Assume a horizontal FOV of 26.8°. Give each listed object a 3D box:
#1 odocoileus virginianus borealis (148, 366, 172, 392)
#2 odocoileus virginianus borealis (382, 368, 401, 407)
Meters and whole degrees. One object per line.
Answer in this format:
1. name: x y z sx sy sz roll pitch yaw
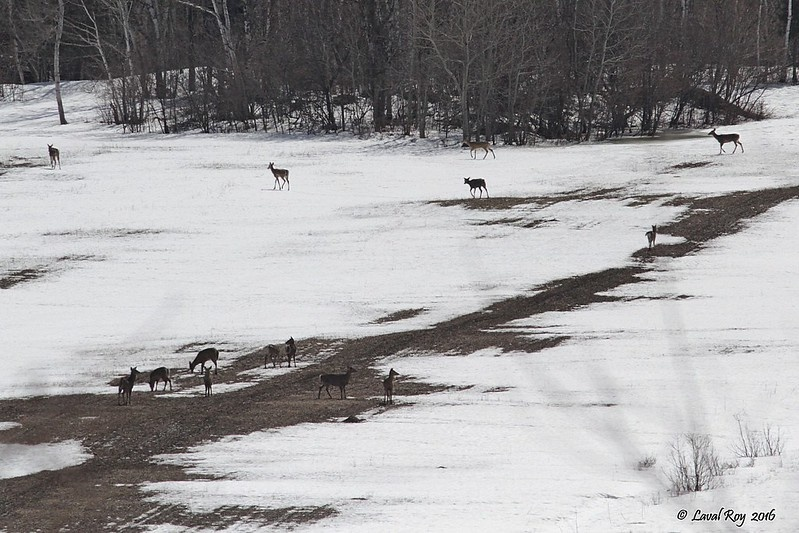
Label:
1. odocoileus virginianus borealis: -14.961 6.820 102.683 1.390 1.384 1.048 -7 15 -11
2. odocoileus virginianus borealis: -0.719 7.102 100.796 0.835 2.014 1.138 -4 14 1
